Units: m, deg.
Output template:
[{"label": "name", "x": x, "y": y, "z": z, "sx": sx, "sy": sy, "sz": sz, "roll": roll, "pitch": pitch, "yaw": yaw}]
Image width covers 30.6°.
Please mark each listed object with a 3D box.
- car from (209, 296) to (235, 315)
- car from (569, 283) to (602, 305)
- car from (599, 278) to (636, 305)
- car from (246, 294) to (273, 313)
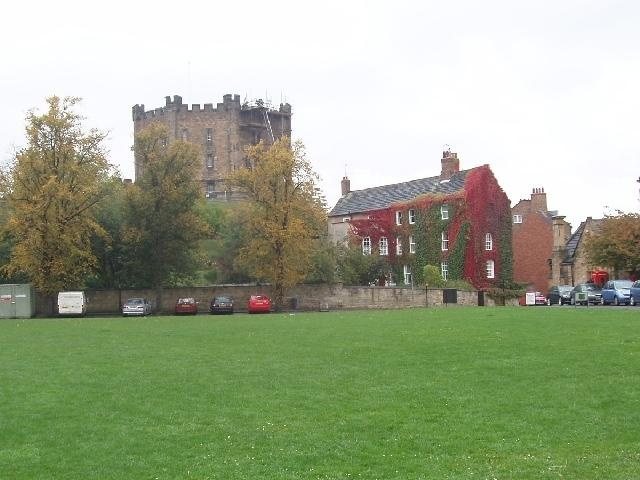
[{"label": "car", "x": -7.063, "y": 4.706, "z": 84.213, "sx": 1.175, "sy": 0.836, "sz": 2.661, "roll": 0, "pitch": 2, "yaw": -4}, {"label": "car", "x": 18.624, "y": 3.771, "z": 81.944, "sx": 1.756, "sy": 1.572, "sz": 3.369, "roll": -1, "pitch": -6, "yaw": -8}, {"label": "car", "x": 20.093, "y": 3.471, "z": 78.577, "sx": 1.283, "sy": 0.892, "sz": 2.142, "roll": 1, "pitch": -6, "yaw": -16}, {"label": "car", "x": -4.371, "y": 4.638, "z": 84.643, "sx": 1.610, "sy": 1.287, "sz": 1.381, "roll": 2, "pitch": -6, "yaw": -29}]
